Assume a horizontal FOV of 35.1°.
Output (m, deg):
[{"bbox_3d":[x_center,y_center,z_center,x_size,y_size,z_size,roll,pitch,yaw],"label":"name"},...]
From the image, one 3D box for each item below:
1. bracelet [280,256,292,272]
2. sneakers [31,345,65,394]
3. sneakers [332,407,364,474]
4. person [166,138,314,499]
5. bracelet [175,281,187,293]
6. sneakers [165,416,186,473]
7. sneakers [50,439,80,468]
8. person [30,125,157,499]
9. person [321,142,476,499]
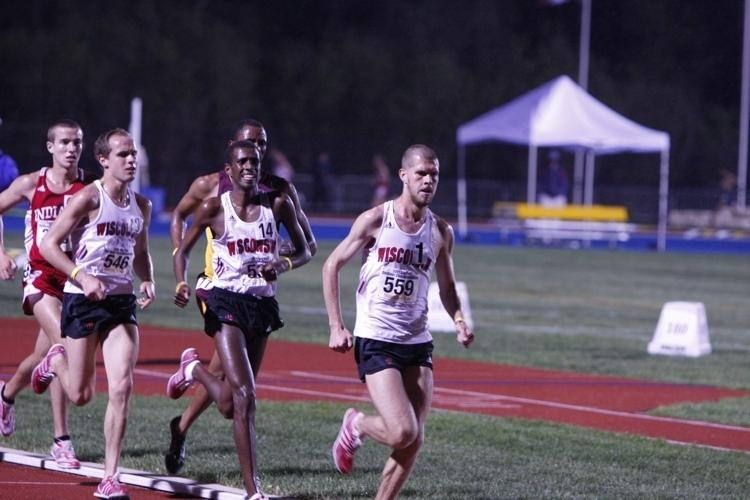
[{"bbox_3d":[-0.862,0.142,11.754,0.047,0.128,0.098,-22,40,-3],"label":"bracelet"},{"bbox_3d":[-3.358,1.220,12.228,0.234,0.538,0.187,42,20,28],"label":"sneakers"},{"bbox_3d":[-0.233,1.852,11.601,0.298,0.678,0.237,12,11,23],"label":"sneakers"},{"bbox_3d":[-1.370,0.643,11.827,1.117,3.420,0.872,2,1,25],"label":"person"},{"bbox_3d":[-1.948,0.365,11.822,0.112,0.090,0.093,-2,-13,39],"label":"bracelet"},{"bbox_3d":[-2.040,2.001,12.220,0.159,0.567,0.210,3,-3,29],"label":"sneakers"},{"bbox_3d":[-3.148,2.092,12.142,0.416,0.175,0.165,6,-1,45],"label":"sneakers"},{"bbox_3d":[-2.735,0.602,11.853,0.926,3.592,0.763,1,1,0],"label":"person"},{"bbox_3d":[0.193,0.687,11.298,1.341,3.369,0.527,1,1,-3],"label":"person"}]
